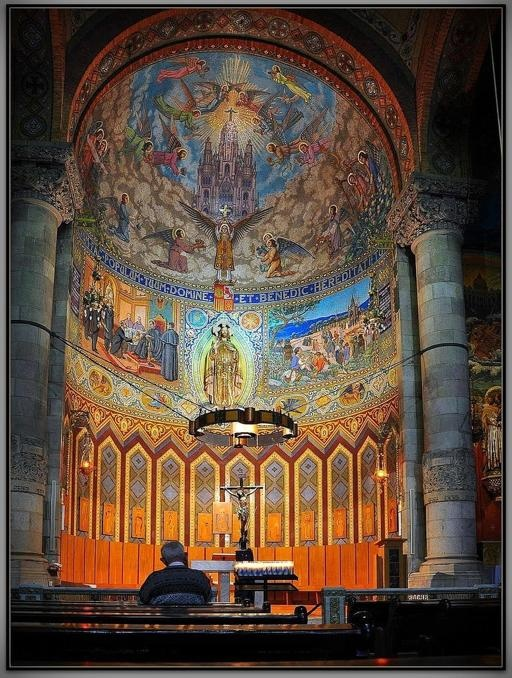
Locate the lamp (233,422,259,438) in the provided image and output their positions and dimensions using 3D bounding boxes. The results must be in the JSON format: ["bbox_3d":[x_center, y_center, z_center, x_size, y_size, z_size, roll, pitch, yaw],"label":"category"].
[{"bbox_3d":[-0.139,1.124,14.422,0.198,0.176,0.194,12,-21,-36],"label":"lamp"}]

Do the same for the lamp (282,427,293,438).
[{"bbox_3d":[0.406,1.171,14.705,0.144,0.102,0.141,7,-11,-21],"label":"lamp"}]

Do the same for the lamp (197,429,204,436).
[{"bbox_3d":[-0.699,1.171,14.778,0.110,0.072,0.122,-3,6,0],"label":"lamp"}]

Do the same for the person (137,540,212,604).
[{"bbox_3d":[-0.641,1.971,9.165,0.554,0.757,0.445,-4,-37,-1],"label":"person"}]
